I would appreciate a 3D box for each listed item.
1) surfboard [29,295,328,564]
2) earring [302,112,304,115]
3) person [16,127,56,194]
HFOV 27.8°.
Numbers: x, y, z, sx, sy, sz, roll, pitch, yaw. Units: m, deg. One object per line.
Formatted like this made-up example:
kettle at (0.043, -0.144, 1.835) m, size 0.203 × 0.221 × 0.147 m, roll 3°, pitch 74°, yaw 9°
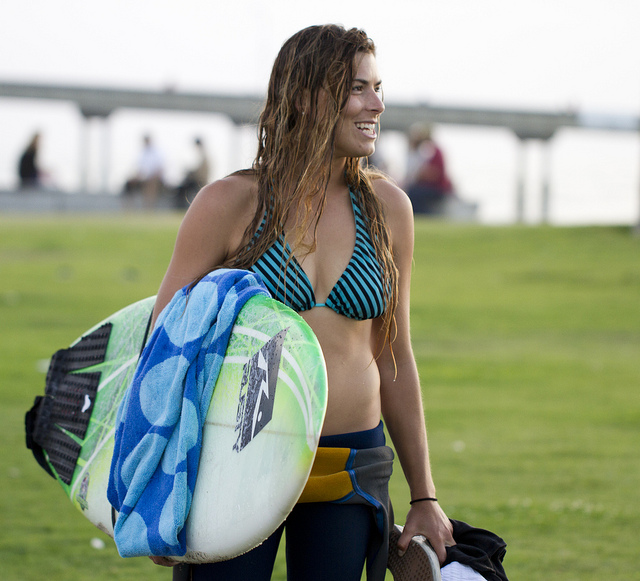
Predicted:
surfboard at (-0.529, 0.466, 4.752) m, size 1.158 × 0.999 × 0.178 m, roll 1°, pitch -24°, yaw 20°
earring at (-0.062, -0.667, 4.877) m, size 0.010 × 0.011 × 0.009 m, roll -4°, pitch 9°, yaw -27°
person at (-2.418, -1.086, 11.011) m, size 0.337 × 0.583 × 2.230 m, roll -2°, pitch 7°, yaw -12°
